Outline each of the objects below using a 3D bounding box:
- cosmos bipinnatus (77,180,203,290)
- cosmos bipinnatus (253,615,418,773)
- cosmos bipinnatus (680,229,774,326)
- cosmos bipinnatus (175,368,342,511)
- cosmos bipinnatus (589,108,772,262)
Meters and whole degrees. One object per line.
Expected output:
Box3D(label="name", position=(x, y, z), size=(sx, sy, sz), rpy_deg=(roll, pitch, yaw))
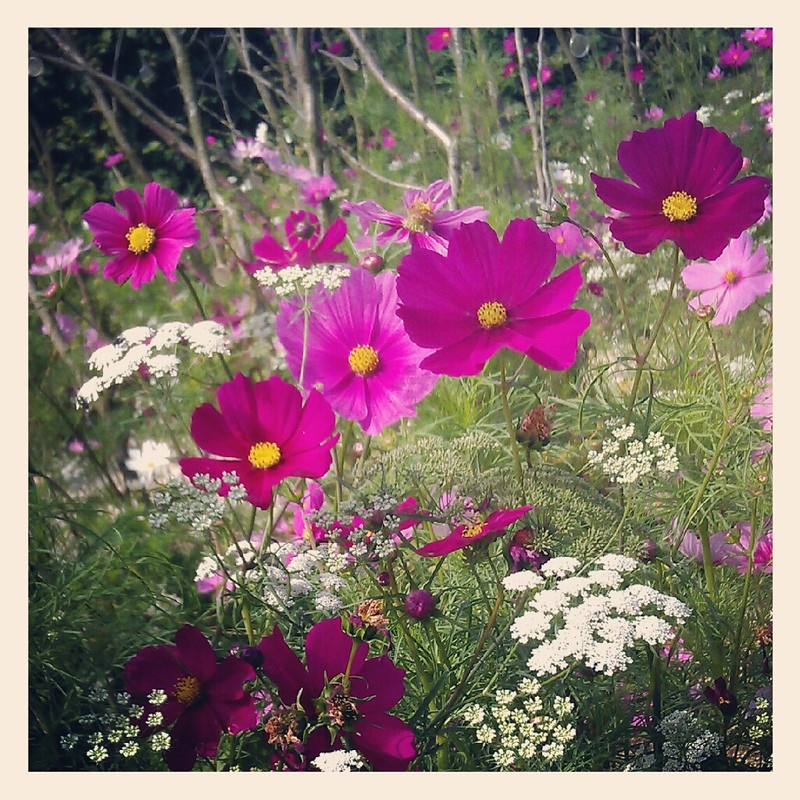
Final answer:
Box3D(label="cosmos bipinnatus", position=(-0.325, -0.209, 1.260), size=(0.142, 0.110, 0.085), rpy_deg=(-11, -3, 15))
Box3D(label="cosmos bipinnatus", position=(-0.071, 0.324, 1.092), size=(0.194, 0.096, 0.246), rpy_deg=(20, 10, -17))
Box3D(label="cosmos bipinnatus", position=(0.440, -0.161, 1.315), size=(0.037, 0.154, 0.130), rpy_deg=(3, -15, -27))
Box3D(label="cosmos bipinnatus", position=(-0.163, 0.045, 1.134), size=(0.181, 0.135, 0.115), rpy_deg=(-10, -2, -6))
Box3D(label="cosmos bipinnatus", position=(0.335, -0.264, 1.191), size=(0.197, 0.084, 0.183), rpy_deg=(6, -21, -41))
